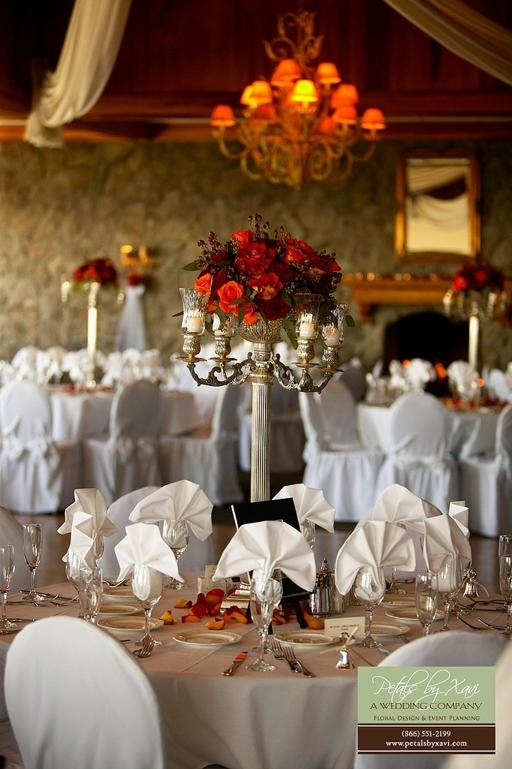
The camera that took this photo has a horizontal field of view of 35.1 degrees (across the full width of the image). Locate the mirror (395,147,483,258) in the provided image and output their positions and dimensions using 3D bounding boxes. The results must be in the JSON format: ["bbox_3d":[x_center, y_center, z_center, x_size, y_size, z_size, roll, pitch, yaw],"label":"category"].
[{"bbox_3d":[2.196,-2.192,9.638,1.348,1.630,0.115,2,7,22],"label":"mirror"}]

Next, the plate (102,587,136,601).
[{"bbox_3d":[-0.363,0.556,2.144,0.058,0.008,0.059,0,2,-1],"label":"plate"}]

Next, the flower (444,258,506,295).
[{"bbox_3d":[1.604,-0.798,5.930,0.240,0.169,0.290,0,-3,8],"label":"flower"}]

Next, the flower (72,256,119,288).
[{"bbox_3d":[-1.424,-0.979,7.324,0.363,0.260,0.390,-2,3,4],"label":"flower"}]

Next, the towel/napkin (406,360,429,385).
[{"bbox_3d":[1.326,-0.083,6.701,0.183,0.251,0.256,1,-6,10],"label":"towel/napkin"}]

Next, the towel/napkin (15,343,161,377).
[{"bbox_3d":[-1.661,-0.231,7.758,0.729,0.236,0.525,2,-2,1],"label":"towel/napkin"}]

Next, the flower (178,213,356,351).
[{"bbox_3d":[-0.013,-0.285,2.302,0.397,0.278,0.375,4,8,-33],"label":"flower"}]

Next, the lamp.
[{"bbox_3d":[0.340,-2.276,6.903,1.300,2.073,1.295,-11,22,-23],"label":"lamp"}]
